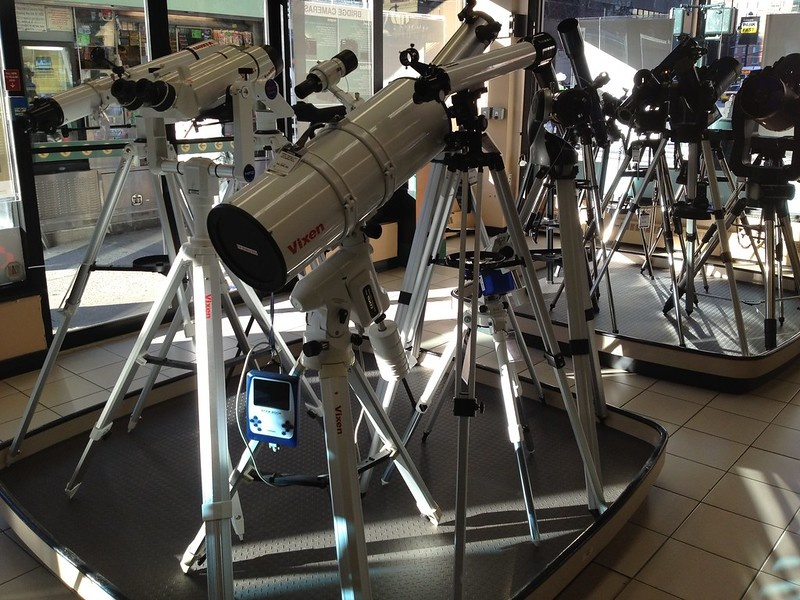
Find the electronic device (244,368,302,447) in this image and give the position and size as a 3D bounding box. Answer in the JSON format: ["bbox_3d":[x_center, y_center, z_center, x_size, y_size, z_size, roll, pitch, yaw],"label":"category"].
[{"bbox_3d":[-0.429,0.368,2.013,0.190,0.250,0.115,-1,19,4],"label":"electronic device"}]

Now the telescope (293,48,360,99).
[{"bbox_3d":[-0.327,-1.002,2.708,0.103,0.123,0.364,11,46,35],"label":"telescope"}]

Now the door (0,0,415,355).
[{"bbox_3d":[-2.088,-0.776,5.520,1.333,2.503,2.853,10,18,42],"label":"door"}]
